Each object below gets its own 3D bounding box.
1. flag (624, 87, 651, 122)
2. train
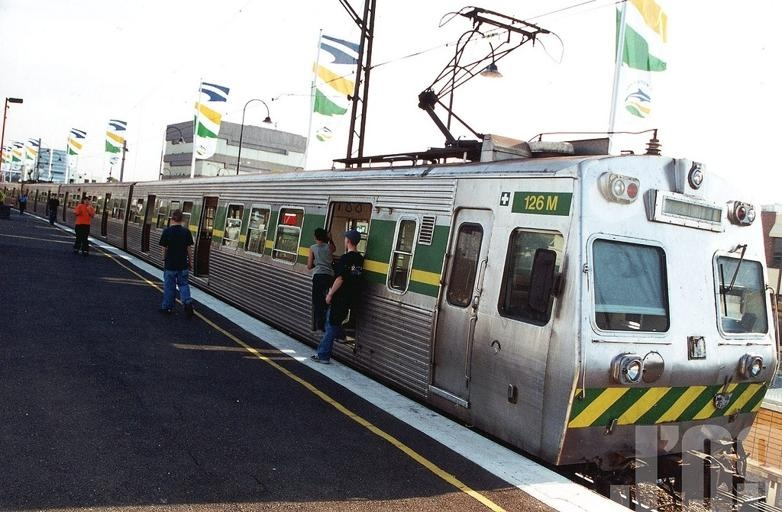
[{"bbox_3d":[6.144,-3.827,13.533,0.882,0.713,0.171,1,10,-30],"label":"flag"},{"bbox_3d":[-1.769,-0.513,13.781,3.461,3.346,17.954,7,5,-36],"label":"train"}]
